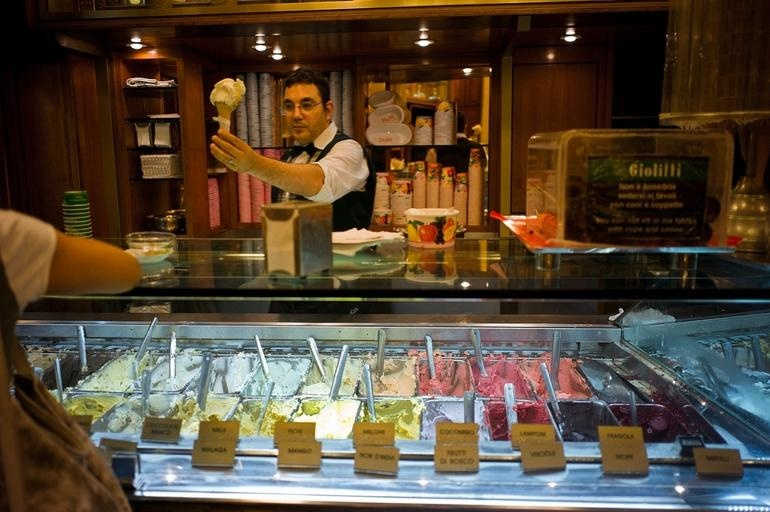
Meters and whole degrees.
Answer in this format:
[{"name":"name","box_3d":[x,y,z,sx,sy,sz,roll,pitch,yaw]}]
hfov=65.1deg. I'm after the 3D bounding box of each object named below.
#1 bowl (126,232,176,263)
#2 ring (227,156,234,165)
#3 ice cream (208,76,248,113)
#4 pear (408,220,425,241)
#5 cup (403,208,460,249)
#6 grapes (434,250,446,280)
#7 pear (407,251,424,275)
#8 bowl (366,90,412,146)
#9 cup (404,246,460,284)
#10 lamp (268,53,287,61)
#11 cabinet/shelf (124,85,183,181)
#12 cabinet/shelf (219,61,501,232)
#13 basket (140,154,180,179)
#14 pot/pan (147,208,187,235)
[{"name":"bowl","box_3d":[-0.704,-0.035,1.826,0.118,0.057,0.111,1,11,0]},{"name":"ring","box_3d":[-0.523,-0.324,2.040,0.011,0.020,0.035,-11,12,-43]},{"name":"ice cream","box_3d":[-0.604,-0.631,2.377,0.193,0.114,0.174,-3,19,-4]},{"name":"pear","box_3d":[0.095,-0.083,1.949,0.066,0.059,0.059,0,1,5]},{"name":"cup","box_3d":[0.146,-0.100,1.988,0.159,0.080,0.150,1,10,0]},{"name":"grapes","box_3d":[0.161,0.027,1.769,0.053,0.048,0.156,8,10,2]},{"name":"pear","box_3d":[0.089,0.016,1.802,0.064,0.081,0.058,0,-4,2]},{"name":"bowl","box_3d":[0.016,-0.874,3.842,0.299,0.359,0.132,1,20,2]},{"name":"cup","box_3d":[0.148,0.026,1.822,0.176,0.109,0.159,2,-11,-12]},{"name":"lamp","box_3d":[-0.708,-1.318,4.007,0.103,0.024,0.125,-1,8,6]},{"name":"cabinet/shelf","box_3d":[-1.623,-0.841,4.167,0.319,0.181,0.498,-14,-16,-20]},{"name":"cabinet/shelf","box_3d":[-0.019,-0.660,3.419,2.403,0.700,0.647,4,16,-17]},{"name":"basket","box_3d":[-1.511,-0.602,4.064,0.221,0.110,0.202,-1,0,-21]},{"name":"pot/pan","box_3d":[-1.535,-0.249,4.240,0.250,0.113,0.315,-4,6,-40]}]
